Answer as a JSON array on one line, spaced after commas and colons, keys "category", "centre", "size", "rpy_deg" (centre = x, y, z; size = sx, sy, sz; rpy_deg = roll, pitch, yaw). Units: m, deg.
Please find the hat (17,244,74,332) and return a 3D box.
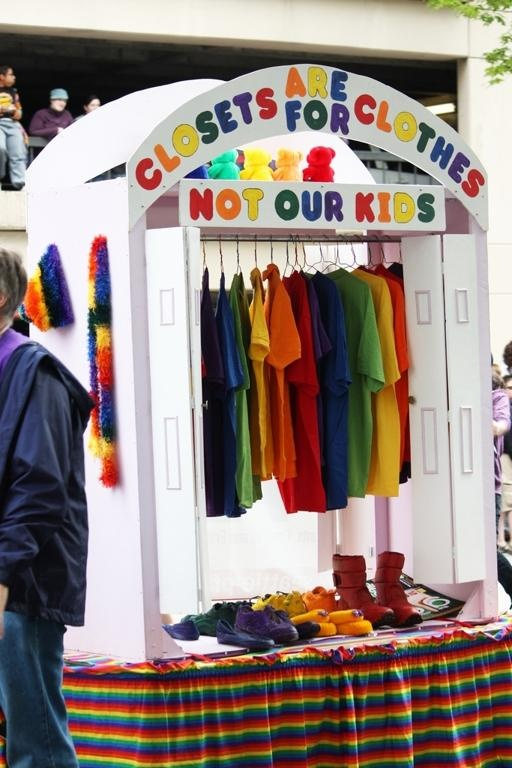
[{"category": "hat", "centre": [-0.845, -0.332, 4.934], "size": [0.152, 0.365, 0.173], "rpy_deg": [-25, 17, -38]}]
